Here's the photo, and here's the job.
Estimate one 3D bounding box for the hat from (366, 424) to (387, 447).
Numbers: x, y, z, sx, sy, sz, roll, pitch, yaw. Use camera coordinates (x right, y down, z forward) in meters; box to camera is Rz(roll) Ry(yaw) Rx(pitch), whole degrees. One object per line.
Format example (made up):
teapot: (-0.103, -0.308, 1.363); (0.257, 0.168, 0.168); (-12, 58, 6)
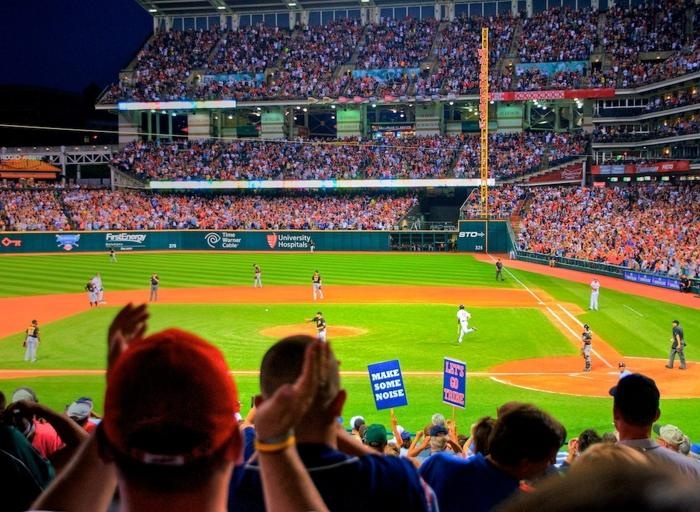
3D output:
hat: (0.948, 6.293, 32.767); (0.656, 1.123, 0.501); (6, 47, 11)

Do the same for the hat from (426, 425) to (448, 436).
hat: (3.356, 6.427, 34.585); (0.688, 0.351, 0.520); (0, 8, -5)

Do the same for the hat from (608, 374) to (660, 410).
hat: (9.838, 4.588, 32.645); (0.987, 0.754, 1.385); (-2, 12, -10)

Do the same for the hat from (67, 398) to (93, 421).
hat: (-9.625, 5.473, 33.294); (0.816, 0.316, 1.126); (4, 24, -11)
